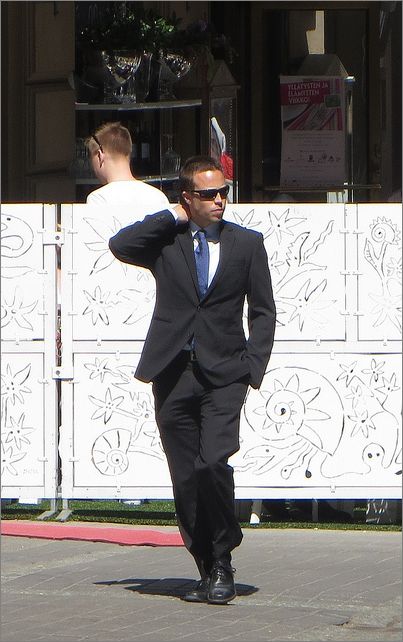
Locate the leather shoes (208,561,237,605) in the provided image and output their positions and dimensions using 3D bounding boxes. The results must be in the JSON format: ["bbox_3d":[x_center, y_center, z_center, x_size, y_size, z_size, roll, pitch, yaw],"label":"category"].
[{"bbox_3d":[0.073,0.981,5.064,0.099,0.162,0.110,0,-1,-2],"label":"leather shoes"}]

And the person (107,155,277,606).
[{"bbox_3d":[-0.020,0.224,5.054,0.578,1.673,0.221,0,-1,3],"label":"person"}]

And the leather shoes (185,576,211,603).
[{"bbox_3d":[-0.011,1.021,5.134,0.047,0.067,0.139,-2,-10,29],"label":"leather shoes"}]
